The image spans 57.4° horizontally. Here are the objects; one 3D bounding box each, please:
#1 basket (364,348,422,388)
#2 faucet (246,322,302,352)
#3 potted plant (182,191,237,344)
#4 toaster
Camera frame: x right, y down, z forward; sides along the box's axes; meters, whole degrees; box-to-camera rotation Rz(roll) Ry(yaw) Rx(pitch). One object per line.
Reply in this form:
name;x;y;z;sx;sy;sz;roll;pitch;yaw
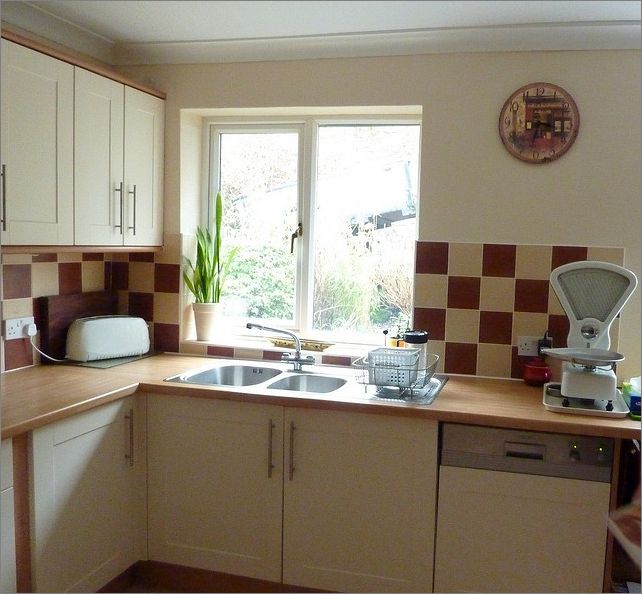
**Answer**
basket;0.292;0.286;2.439;0.188;0.129;0.149;-1;0;20
faucet;-0.231;0.194;2.959;0.244;0.170;0.475;1;4;-1
potted plant;-0.605;-0.166;3.244;0.283;0.806;0.235;1;4;3
toaster;-1.076;0.221;2.994;0.153;0.215;0.409;-15;-8;44
